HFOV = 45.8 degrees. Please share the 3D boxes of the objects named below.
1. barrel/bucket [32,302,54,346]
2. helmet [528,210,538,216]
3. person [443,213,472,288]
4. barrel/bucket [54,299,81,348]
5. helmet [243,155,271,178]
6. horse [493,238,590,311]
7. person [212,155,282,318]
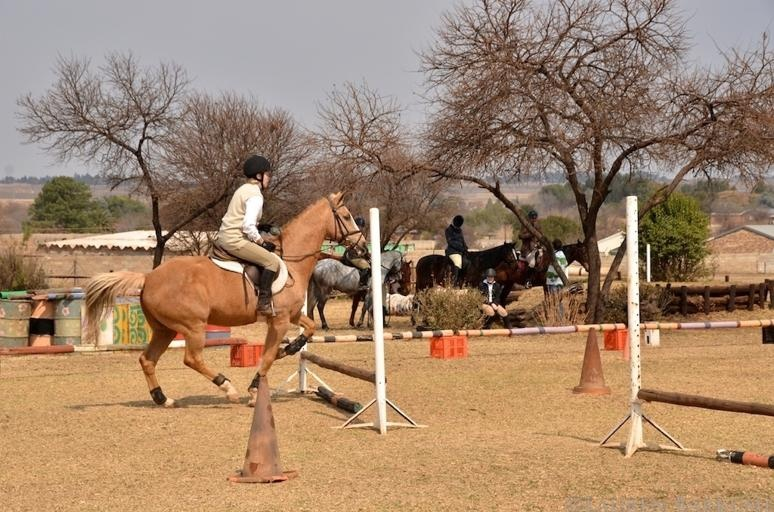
[{"bbox_3d":[-9.192,1.791,24.336,0.663,1.199,0.344,1,-3,-8],"label":"barrel/bucket"},{"bbox_3d":[4.681,-1.308,29.536,0.248,0.089,0.256,-1,6,-14],"label":"helmet"},{"bbox_3d":[2.222,-0.154,29.560,0.739,2.247,1.104,0,-3,4],"label":"person"},{"bbox_3d":[-8.452,1.762,24.174,0.775,1.194,0.448,1,-3,-8],"label":"barrel/bucket"},{"bbox_3d":[-2.473,-1.671,17.207,0.441,0.424,0.391,-12,17,-16],"label":"helmet"},{"bbox_3d":[5.387,0.367,30.247,2.558,1.692,0.578,9,30,34],"label":"horse"},{"bbox_3d":[-2.519,-0.356,16.809,1.108,2.980,0.625,1,-3,-9],"label":"person"}]
